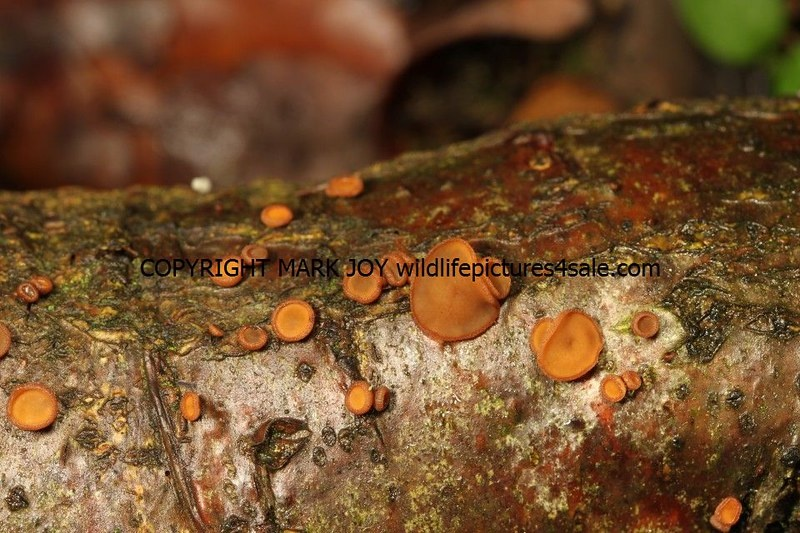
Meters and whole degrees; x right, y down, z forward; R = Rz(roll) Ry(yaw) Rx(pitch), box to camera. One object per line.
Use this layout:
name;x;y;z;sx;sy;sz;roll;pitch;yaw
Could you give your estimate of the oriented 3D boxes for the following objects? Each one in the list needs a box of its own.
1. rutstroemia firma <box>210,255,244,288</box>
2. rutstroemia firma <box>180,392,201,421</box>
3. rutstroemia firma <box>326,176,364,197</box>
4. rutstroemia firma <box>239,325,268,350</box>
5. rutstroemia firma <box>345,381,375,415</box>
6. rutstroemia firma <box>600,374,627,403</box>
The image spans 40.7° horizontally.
rutstroemia firma;-1.600;0.074;10.016;0.288;0.117;0.271;-11;81;1
rutstroemia firma;-1.830;1.226;9.379;0.170;0.035;0.240;-1;85;3
rutstroemia firma;-0.537;-0.761;10.492;0.238;0.072;0.238;-7;31;-2
rutstroemia firma;-1.305;0.644;9.554;0.272;0.087;0.222;-3;82;3
rutstroemia firma;-0.359;1.158;9.417;0.249;0.124;0.295;0;82;3
rutstroemia firma;1.839;1.053;9.369;0.217;0.068;0.210;34;85;7
